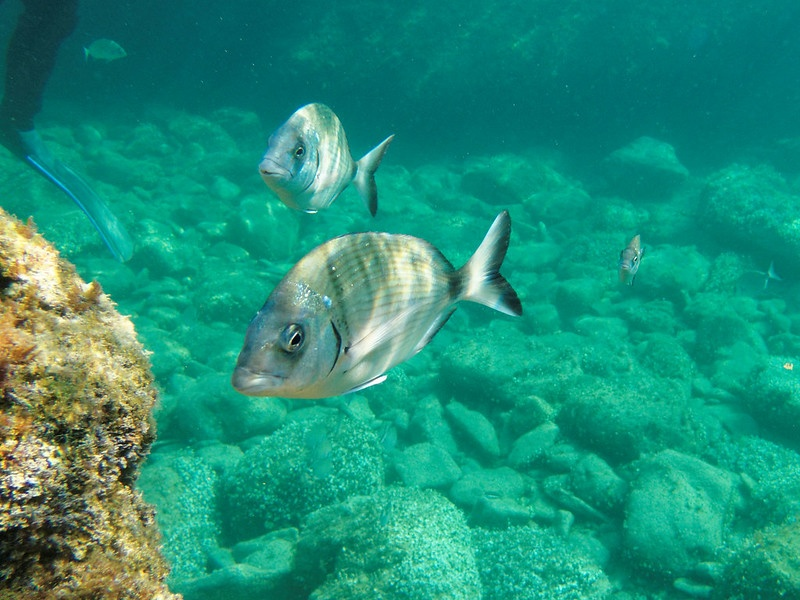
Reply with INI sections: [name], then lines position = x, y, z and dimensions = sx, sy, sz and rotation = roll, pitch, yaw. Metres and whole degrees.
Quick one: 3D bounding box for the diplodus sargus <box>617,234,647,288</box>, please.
[diplodus sargus]
position = 4.823, -0.880, 16.068
dimensions = 0.459, 1.042, 0.532
rotation = 26, 21, 10
